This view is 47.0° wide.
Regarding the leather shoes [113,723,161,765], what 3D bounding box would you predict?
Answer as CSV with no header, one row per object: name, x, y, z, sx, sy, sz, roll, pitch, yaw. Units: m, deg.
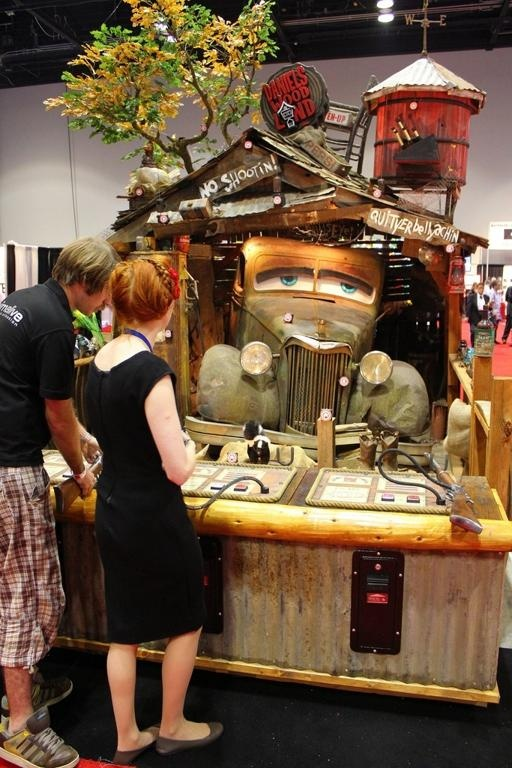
leather shoes,-0.352,1.095,1.795,0.052,0.042,0.156,4,10,18

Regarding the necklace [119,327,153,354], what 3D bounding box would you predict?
necklace,-0.328,-0.120,1.609,0.077,0.062,0.083,0,-1,-10

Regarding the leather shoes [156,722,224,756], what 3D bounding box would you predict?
leather shoes,-0.207,1.082,1.856,0.209,0.079,0.075,1,-5,-35

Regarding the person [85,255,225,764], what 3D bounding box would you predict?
person,-0.312,0.388,1.648,0.328,1.456,0.429,0,-1,-6
